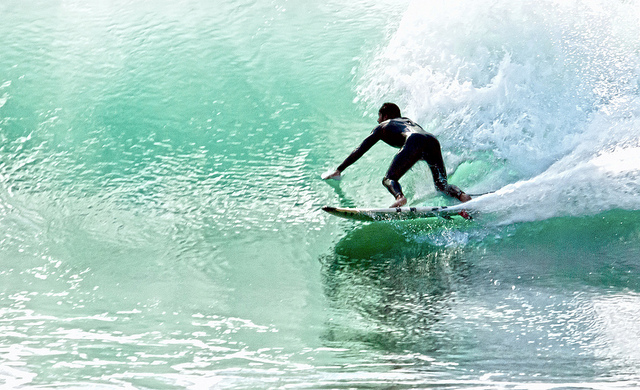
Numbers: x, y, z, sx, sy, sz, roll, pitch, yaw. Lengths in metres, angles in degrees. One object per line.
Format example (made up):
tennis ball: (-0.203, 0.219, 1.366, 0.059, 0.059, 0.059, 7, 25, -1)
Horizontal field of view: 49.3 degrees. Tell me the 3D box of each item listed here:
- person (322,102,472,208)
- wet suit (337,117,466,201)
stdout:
person: (0.944, -0.271, 8.560, 1.088, 1.713, 1.107, 35, 44, -37)
wet suit: (1.046, -0.468, 8.330, 1.311, 0.770, 1.808, -7, 14, -26)
